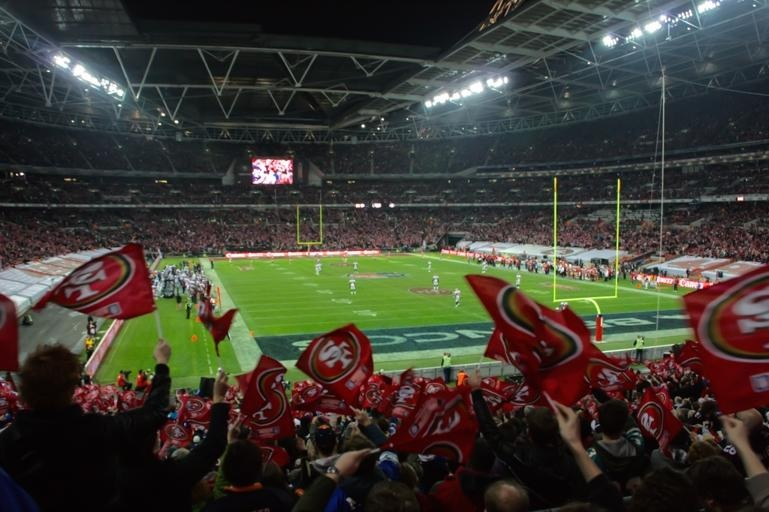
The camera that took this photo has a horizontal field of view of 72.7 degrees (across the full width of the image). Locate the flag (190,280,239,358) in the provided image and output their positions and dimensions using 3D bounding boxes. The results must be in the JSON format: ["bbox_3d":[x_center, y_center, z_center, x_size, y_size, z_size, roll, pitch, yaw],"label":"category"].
[{"bbox_3d":[-2.344,0.877,7.326,0.630,0.726,0.205,-13,29,2],"label":"flag"}]

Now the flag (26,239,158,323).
[{"bbox_3d":[-3.498,0.328,6.214,1.384,0.894,0.089,-8,-17,-6],"label":"flag"}]

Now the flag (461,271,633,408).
[{"bbox_3d":[1.944,1.342,6.594,2.100,0.867,2.035,15,-30,25],"label":"flag"}]

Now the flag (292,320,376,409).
[{"bbox_3d":[-0.906,1.453,7.845,0.369,1.250,1.343,-1,41,15],"label":"flag"}]
